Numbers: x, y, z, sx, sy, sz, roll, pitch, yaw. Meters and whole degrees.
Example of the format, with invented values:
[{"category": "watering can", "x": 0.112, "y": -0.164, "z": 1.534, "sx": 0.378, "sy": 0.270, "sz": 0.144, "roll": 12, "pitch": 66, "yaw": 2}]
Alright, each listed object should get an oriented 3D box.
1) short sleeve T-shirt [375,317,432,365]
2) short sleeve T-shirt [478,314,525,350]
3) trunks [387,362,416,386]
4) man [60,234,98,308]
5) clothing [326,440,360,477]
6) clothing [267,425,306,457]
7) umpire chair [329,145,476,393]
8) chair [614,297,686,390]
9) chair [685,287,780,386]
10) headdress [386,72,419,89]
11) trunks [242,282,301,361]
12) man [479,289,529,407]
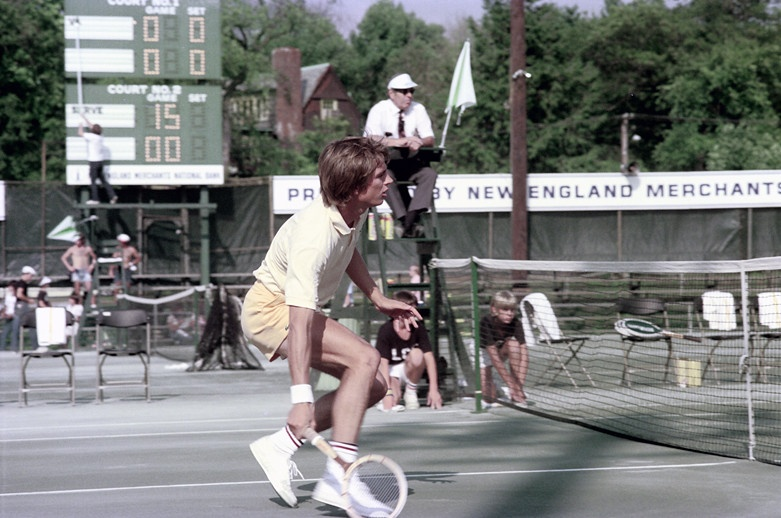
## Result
[{"category": "short sleeve T-shirt", "x": 0.258, "y": 2.272, "z": 46.091, "sx": 1.987, "sy": 1.340, "sz": 1.074, "roll": -4, "pitch": 0, "yaw": -16}, {"category": "short sleeve T-shirt", "x": 2.892, "y": 2.023, "z": 46.146, "sx": 1.386, "sy": 1.415, "sz": 0.845, "roll": 5, "pitch": -5, "yaw": 0}, {"category": "trunks", "x": 0.304, "y": 3.134, "z": 45.901, "sx": 0.651, "sy": 0.320, "sz": 0.629, "roll": -2, "pitch": 30, "yaw": 24}, {"category": "man", "x": -10.040, "y": 0.329, "z": 54.726, "sx": 1.085, "sy": 1.667, "sz": 1.362, "roll": -2, "pitch": 1, "yaw": -11}, {"category": "clothing", "x": -1.147, "y": 4.855, "z": 41.693, "sx": 0.918, "sy": 0.735, "sz": 0.708, "roll": 13, "pitch": 12, "yaw": 11}, {"category": "clothing", "x": -2.612, "y": 4.552, "z": 42.089, "sx": 0.612, "sy": 0.783, "sz": 0.689, "roll": -44, "pitch": -25, "yaw": 1}, {"category": "umpire chair", "x": 0.564, "y": 1.666, "z": 47.903, "sx": 2.269, "sy": 4.684, "sz": 2.192, "roll": 21, "pitch": 37, "yaw": 31}, {"category": "chair", "x": 7.237, "y": 2.170, "z": 49.119, "sx": 1.648, "sy": 2.517, "sz": 1.725, "roll": 3, "pitch": 18, "yaw": 16}, {"category": "chair", "x": 9.595, "y": 2.249, "z": 47.582, "sx": 2.917, "sy": 2.023, "sz": 1.096, "roll": 1, "pitch": -8, "yaw": -6}, {"category": "headdress", "x": 0.283, "y": -4.898, "z": 46.897, "sx": 0.738, "sy": 0.502, "sz": 0.933, "roll": -2, "pitch": 1, "yaw": -1}, {"category": "trunks", "x": -3.029, "y": 1.742, "z": 42.356, "sx": 1.267, "sy": 1.986, "sz": 1.532, "roll": -12, "pitch": -8, "yaw": -32}, {"category": "man", "x": 3.018, "y": 2.430, "z": 45.857, "sx": 1.291, "sy": 3.089, "sz": 0.648, "roll": -2, "pitch": 1, "yaw": 2}]
